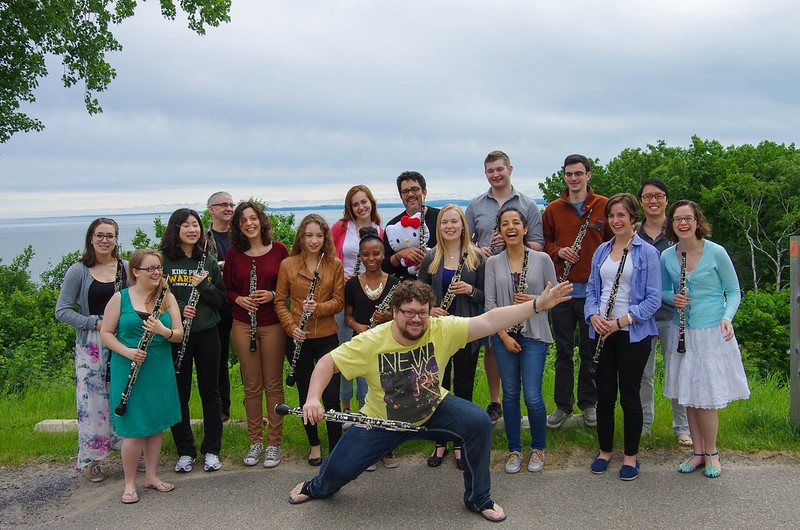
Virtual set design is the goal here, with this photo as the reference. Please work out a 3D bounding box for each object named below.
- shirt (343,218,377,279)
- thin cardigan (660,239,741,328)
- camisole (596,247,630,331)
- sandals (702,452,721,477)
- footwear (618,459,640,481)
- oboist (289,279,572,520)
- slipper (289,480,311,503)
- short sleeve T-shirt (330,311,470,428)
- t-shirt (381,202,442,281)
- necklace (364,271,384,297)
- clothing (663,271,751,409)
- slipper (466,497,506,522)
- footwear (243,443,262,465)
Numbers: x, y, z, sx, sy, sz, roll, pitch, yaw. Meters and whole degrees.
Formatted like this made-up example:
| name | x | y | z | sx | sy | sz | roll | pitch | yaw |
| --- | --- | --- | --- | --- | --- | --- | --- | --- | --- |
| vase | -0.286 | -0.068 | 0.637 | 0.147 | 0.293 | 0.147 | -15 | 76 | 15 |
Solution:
| name | x | y | z | sx | sy | sz | roll | pitch | yaw |
| --- | --- | --- | --- | --- | --- | --- | --- | --- | --- |
| shirt | -0.586 | -0.207 | 9.449 | 0.884 | 0.815 | 0.472 | 0 | -18 | -3 |
| thin cardigan | 3.979 | 0.271 | 8.601 | 1.244 | 1.289 | 0.802 | -7 | -5 | 42 |
| camisole | 2.914 | 0.288 | 8.675 | 0.340 | 1.132 | 0.364 | 3 | -14 | 24 |
| sandals | 4.116 | 2.597 | 8.467 | 0.204 | 0.302 | 0.360 | -1 | 0 | 26 |
| footwear | 3.029 | 2.675 | 8.397 | 0.335 | 0.226 | 0.153 | -1 | 1 | -17 |
| oboist | 0.161 | 1.776 | 7.953 | 2.867 | 2.663 | 0.967 | -1 | 1 | -10 |
| slipper | -1.301 | 2.921 | 8.183 | 0.331 | 0.092 | 0.173 | 2 | 8 | -8 |
| short sleeve T-shirt | 0.052 | 1.309 | 8.058 | 1.640 | 1.081 | 0.681 | -6 | 8 | -8 |
| t-shirt | 0.204 | -0.282 | 9.381 | 1.005 | 1.119 | 0.721 | -6 | -19 | 14 |
| necklace | -0.373 | 0.275 | 9.098 | 0.368 | 0.379 | 0.057 | -3 | -18 | 1 |
| clothing | 4.123 | 1.236 | 8.865 | 1.427 | 1.333 | 1.012 | -5 | -8 | 10 |
| slipper | 1.059 | 2.966 | 7.901 | 0.447 | 0.180 | 0.227 | 4 | 13 | 29 |
| footwear | -2.070 | 2.668 | 9.076 | 0.280 | 0.277 | 0.237 | -1 | 0 | -20 |
